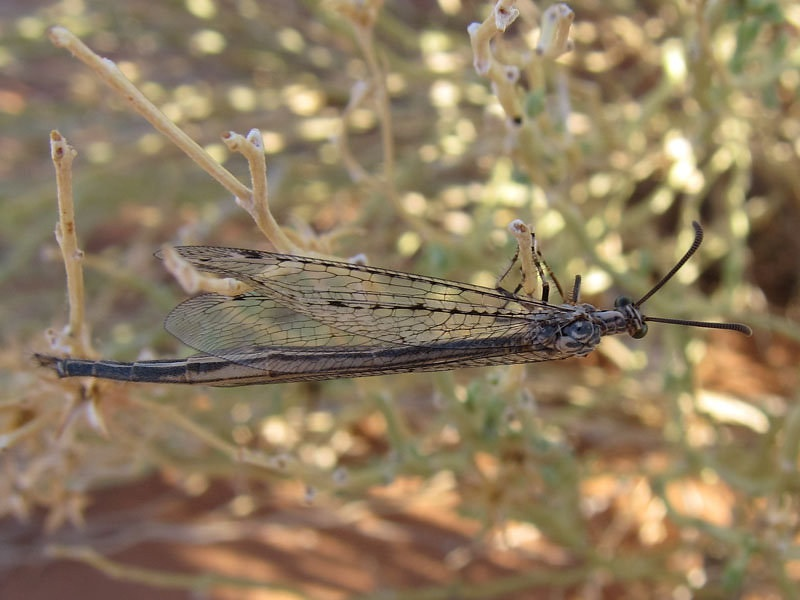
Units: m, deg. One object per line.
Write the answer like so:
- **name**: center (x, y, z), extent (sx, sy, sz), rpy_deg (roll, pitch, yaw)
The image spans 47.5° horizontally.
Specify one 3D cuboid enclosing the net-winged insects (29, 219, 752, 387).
- **net-winged insects**: center (0.111, 0.000, 1.268), extent (1.122, 0.124, 0.238), rpy_deg (1, -49, -1)
